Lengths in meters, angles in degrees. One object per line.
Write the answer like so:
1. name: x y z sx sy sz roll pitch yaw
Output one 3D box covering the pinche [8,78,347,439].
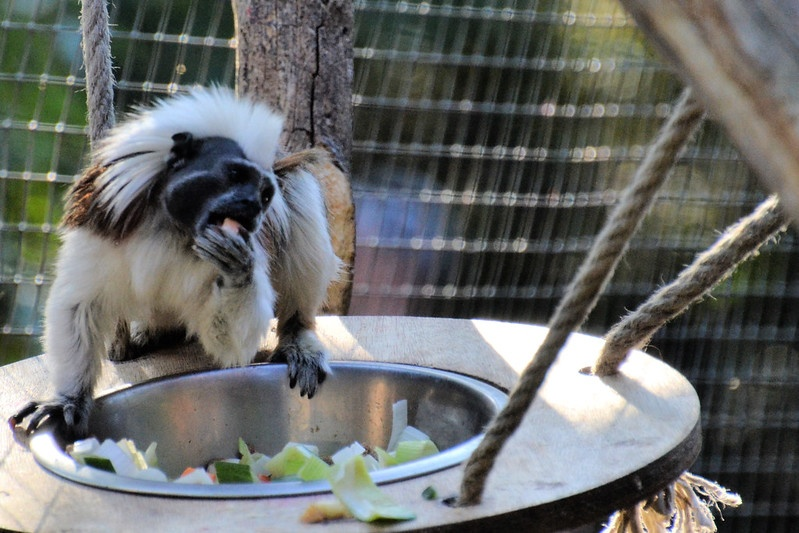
1. pinche: -1.022 0.039 7.992 1.590 1.585 1.190 1 -15 -20
